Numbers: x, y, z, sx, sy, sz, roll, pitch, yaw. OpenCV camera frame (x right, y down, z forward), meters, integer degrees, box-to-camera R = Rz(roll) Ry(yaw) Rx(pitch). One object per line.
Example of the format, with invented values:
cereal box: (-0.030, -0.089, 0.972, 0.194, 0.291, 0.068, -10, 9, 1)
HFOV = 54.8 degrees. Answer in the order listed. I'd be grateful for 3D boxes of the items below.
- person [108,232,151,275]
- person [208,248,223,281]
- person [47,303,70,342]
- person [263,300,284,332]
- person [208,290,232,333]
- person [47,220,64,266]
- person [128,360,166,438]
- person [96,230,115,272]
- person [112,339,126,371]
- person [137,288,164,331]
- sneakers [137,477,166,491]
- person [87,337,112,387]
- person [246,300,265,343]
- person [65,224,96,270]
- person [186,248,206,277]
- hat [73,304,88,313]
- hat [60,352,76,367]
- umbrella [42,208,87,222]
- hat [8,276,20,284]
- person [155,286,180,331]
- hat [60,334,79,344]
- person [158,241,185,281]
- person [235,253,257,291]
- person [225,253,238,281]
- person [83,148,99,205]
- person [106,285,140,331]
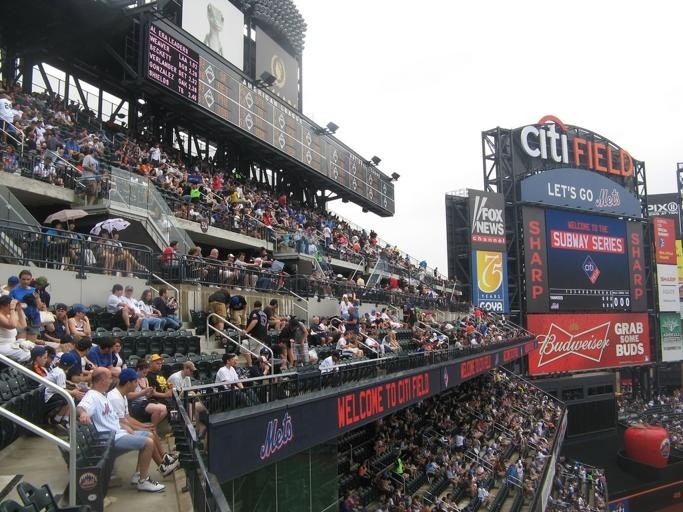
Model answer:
person: (-5.698, -0.015, 17.571, 1.323, 0.907, 0.751, 8, 10, 36)
person: (-3.919, 0.288, 20.201, 0.300, 1.255, 1.993, 1, -10, -11)
person: (-5.908, 1.367, 13.641, 0.384, 0.760, 0.579, -1, -10, -2)
person: (-1.923, 1.677, 18.814, 0.573, 0.868, 1.594, 0, -10, -5)
person: (-3.286, 1.410, 17.601, 0.556, 1.183, 1.135, 1, -10, -11)
person: (-7.210, -0.309, 16.531, 0.378, 1.340, 1.417, 3, -11, -24)
person: (-3.774, 2.726, 12.587, 0.697, 1.424, 0.554, 7, -3, -3)
person: (-6.151, -0.008, 17.049, 0.170, 0.933, 0.460, -10, -13, 43)
person: (-4.486, 2.011, 13.276, 0.232, 0.654, 1.248, 2, -11, -18)
person: (-4.737, 1.473, 16.349, 0.606, 1.222, 0.557, -4, -5, 12)
sneakers: (-3.193, 3.849, 11.110, 0.462, 0.218, 0.194, 3, 0, 0)
person: (-4.655, 2.027, 12.874, 0.497, 0.677, 1.042, 6, 15, -34)
person: (-2.242, 1.699, 17.263, 0.575, 1.120, 1.020, 0, -10, -7)
person: (-6.563, -0.083, 16.489, 0.346, 0.992, 0.830, -6, -11, 26)
person: (-4.233, 0.161, 18.850, 0.394, 0.963, 0.744, -5, -10, 23)
hat: (-5.735, 1.164, 14.491, 0.307, 0.161, 0.221, -3, 11, -43)
hat: (-5.004, 1.883, 11.993, 0.277, 0.257, 0.223, 1, -10, -11)
umbrella: (-7.171, -0.997, 16.977, 0.720, 0.256, 0.736, -27, -7, 41)
hat: (-6.825, 0.503, 13.700, 0.143, 0.113, 0.199, 21, -4, -3)
person: (-4.520, 1.466, 16.899, 0.606, 1.252, 0.513, 7, 7, -12)
hat: (-5.306, 1.619, 12.844, 0.302, 0.172, 0.196, -1, 5, -27)
person: (-4.714, 0.278, 18.302, 0.716, 0.781, 0.224, 2, -10, -18)
person: (-3.030, 0.469, 20.543, 0.523, 1.039, 1.362, -2, -10, 7)
person: (-3.433, 0.375, 20.327, 0.409, 1.056, 1.210, 0, -10, -9)
person: (-7.380, -2.237, 19.238, 0.448, 1.648, 0.977, 3, -10, -22)
person: (-5.340, 1.302, 15.983, 0.570, 1.157, 0.610, -1, 5, 3)
